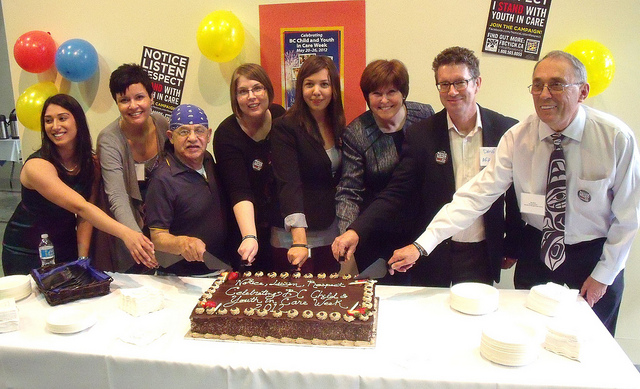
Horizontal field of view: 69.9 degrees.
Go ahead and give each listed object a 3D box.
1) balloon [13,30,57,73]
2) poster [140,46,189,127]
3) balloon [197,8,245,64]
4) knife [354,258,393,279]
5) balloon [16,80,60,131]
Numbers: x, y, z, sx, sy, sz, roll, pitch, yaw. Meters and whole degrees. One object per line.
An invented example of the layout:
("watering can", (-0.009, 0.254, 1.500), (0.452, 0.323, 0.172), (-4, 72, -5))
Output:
("balloon", (-3.171, -1.602, 5.127), (0.412, 0.435, 0.253), (-9, 20, -30))
("poster", (-1.787, -1.278, 5.239), (0.559, 0.790, 0.221), (7, 19, 18))
("balloon", (-1.024, -1.645, 4.967), (0.540, 0.585, 0.499), (7, 3, -16))
("knife", (0.458, 0.644, 3.942), (0.365, 0.072, 0.150), (-37, 22, 25))
("balloon", (-3.172, -0.997, 5.167), (0.358, 0.503, 0.353), (6, 18, 15))
